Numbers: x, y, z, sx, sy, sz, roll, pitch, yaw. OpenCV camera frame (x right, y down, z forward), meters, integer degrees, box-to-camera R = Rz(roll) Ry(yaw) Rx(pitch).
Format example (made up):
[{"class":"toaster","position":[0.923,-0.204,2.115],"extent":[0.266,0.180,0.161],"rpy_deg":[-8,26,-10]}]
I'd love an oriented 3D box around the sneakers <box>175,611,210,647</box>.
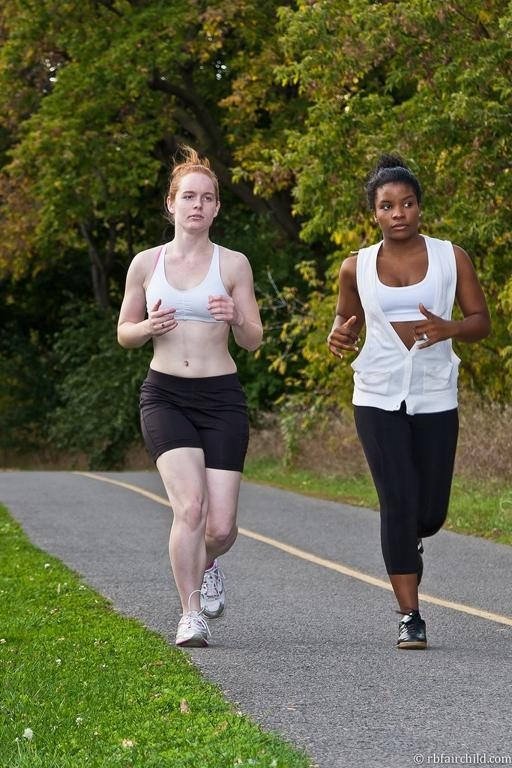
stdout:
[{"class":"sneakers","position":[-0.290,1.140,4.090],"extent":[0.157,0.174,0.127],"rpy_deg":[2,-4,-14]}]

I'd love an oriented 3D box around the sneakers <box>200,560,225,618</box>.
[{"class":"sneakers","position":[-0.220,1.069,4.597],"extent":[0.123,0.277,0.126],"rpy_deg":[-3,-6,2]}]

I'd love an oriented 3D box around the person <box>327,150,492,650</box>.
[{"class":"person","position":[0.719,0.049,4.161],"extent":[0.594,2.340,0.690],"rpy_deg":[5,-6,-42]}]

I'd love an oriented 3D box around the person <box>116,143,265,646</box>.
[{"class":"person","position":[-0.315,-0.012,4.316],"extent":[0.707,2.512,0.660],"rpy_deg":[2,-4,-9]}]

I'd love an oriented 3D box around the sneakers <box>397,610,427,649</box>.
[{"class":"sneakers","position":[0.707,1.123,4.058],"extent":[0.128,0.174,0.158],"rpy_deg":[0,-4,8]}]

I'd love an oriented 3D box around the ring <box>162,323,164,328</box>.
[{"class":"ring","position":[-0.424,-0.269,4.027],"extent":[0.019,0.023,0.006],"rpy_deg":[0,6,2]}]
